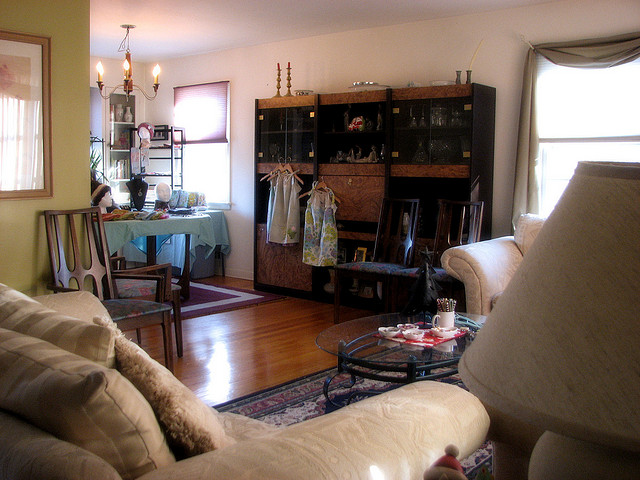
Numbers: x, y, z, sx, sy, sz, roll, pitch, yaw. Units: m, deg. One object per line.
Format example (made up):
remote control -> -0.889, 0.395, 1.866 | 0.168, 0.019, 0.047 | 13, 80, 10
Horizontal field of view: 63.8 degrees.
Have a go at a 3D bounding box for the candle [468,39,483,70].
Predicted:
candle -> 1.522, -1.798, 4.988 | 0.018, 0.356, 0.045 | 22, 9, -13

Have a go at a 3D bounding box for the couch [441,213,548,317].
couch -> 1.399, 0.191, 4.313 | 0.892, 1.203, 1.050 | 2, 2, 23

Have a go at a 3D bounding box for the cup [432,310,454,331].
cup -> 0.692, 0.453, 2.877 | 0.125, 0.128, 0.076 | -1, 5, -14

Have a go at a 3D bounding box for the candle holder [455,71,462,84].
candle holder -> 1.299, -1.510, 4.798 | 0.039, 0.139, 0.166 | 2, 7, 13

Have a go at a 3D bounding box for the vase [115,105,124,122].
vase -> -3.054, -1.925, 7.872 | 0.079, 0.257, 0.171 | 4, 8, 27

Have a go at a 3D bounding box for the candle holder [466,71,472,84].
candle holder -> 1.365, -1.479, 4.693 | 0.037, 0.142, 0.181 | 3, 7, 16

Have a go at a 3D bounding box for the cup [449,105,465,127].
cup -> 1.260, -1.122, 4.718 | 0.169, 0.172, 0.171 | 1, 5, 0

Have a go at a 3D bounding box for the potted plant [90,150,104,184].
potted plant -> -3.190, -1.059, 7.371 | 0.153, 0.467, 0.746 | -2, 8, -23

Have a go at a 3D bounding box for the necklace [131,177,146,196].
necklace -> -2.139, -0.633, 6.109 | 0.143, 0.209, 0.050 | 0, 0, 8

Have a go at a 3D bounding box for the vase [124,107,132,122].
vase -> -2.938, -1.910, 7.876 | 0.111, 0.215, 0.215 | -2, 8, -21
